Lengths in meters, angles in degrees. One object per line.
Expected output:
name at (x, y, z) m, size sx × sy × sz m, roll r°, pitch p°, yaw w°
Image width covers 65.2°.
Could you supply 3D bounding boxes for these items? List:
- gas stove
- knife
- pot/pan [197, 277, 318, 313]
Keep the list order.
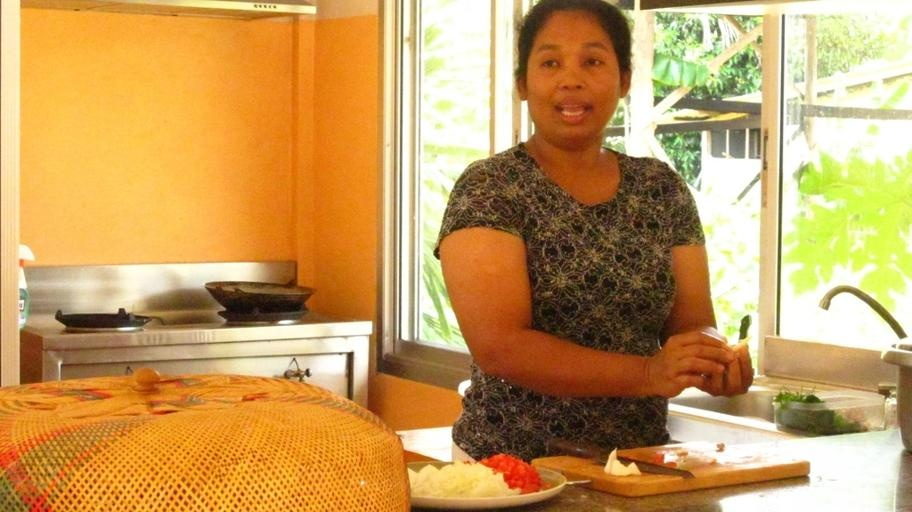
gas stove at (-1.201, 0.180, 3.399) m, size 1.097 × 0.541 × 0.603 m, roll -2°, pitch 5°, yaw -16°
knife at (0.317, 0.391, 1.462) m, size 0.226 × 0.049 × 0.372 m, roll 0°, pitch 0°, yaw 18°
pot/pan at (-0.972, 0.168, 3.470) m, size 0.451 × 0.181 × 0.336 m, roll 0°, pitch 0°, yaw 8°
